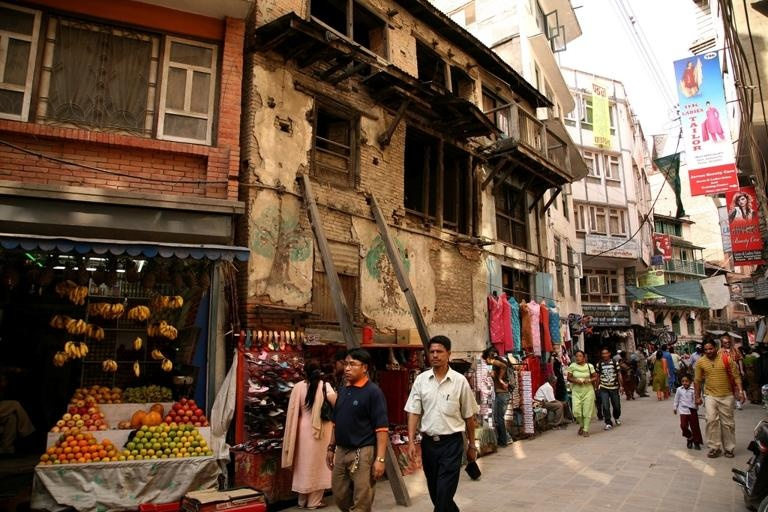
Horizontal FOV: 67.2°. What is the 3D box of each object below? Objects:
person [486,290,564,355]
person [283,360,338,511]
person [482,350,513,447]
[{"bbox_3d":[4.358,2.151,18.206,2.054,1.329,0.436,12,-23,-37],"label":"person"},{"bbox_3d":[-1.422,3.300,11.097,0.913,2.687,1.071,-1,-4,22],"label":"person"},{"bbox_3d":[2.839,3.473,14.497,0.675,2.337,0.695,1,-3,-9],"label":"person"}]
